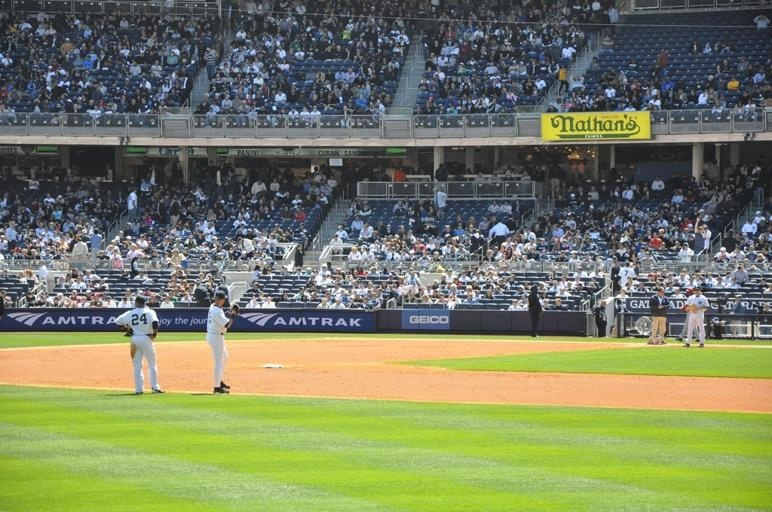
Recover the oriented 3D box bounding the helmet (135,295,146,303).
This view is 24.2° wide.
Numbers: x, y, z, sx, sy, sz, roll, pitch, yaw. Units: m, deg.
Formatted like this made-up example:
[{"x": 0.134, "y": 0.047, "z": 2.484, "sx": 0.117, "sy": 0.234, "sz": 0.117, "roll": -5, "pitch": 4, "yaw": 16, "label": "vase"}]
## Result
[{"x": -9.025, "y": 1.592, "z": 66.750, "sx": 0.240, "sy": 0.286, "sz": 0.288, "roll": 2, "pitch": 12, "yaw": -10, "label": "helmet"}]
